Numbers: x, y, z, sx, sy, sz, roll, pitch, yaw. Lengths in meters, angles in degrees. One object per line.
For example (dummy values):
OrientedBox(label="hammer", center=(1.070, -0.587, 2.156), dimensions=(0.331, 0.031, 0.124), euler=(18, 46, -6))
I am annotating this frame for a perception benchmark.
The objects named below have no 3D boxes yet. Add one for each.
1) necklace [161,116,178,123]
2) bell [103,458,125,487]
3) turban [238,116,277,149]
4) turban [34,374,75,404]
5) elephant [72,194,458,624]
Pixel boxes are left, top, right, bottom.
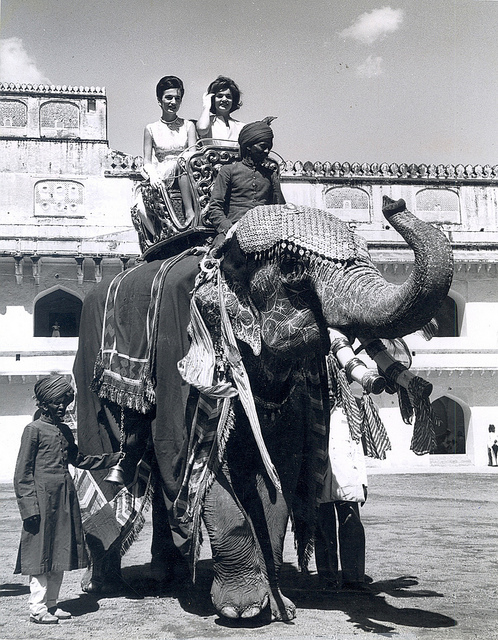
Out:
OrientedBox(label="necklace", center=(-0.527, -1.485, 9.430), dimensions=(0.148, 0.042, 0.036), euler=(-2, 0, 33))
OrientedBox(label="bell", center=(-0.823, 0.955, 8.742), dimensions=(0.124, 0.131, 0.213), euler=(-2, 39, 12))
OrientedBox(label="turban", center=(0.026, -1.178, 8.076), dimensions=(0.233, 0.171, 0.092), euler=(-2, 0, 44))
OrientedBox(label="turban", center=(-1.151, 0.391, 8.355), dimensions=(0.222, 0.178, 0.266), euler=(-2, 0, -9))
OrientedBox(label="elephant", center=(-0.048, 0.537, 8.406), dimensions=(1.114, 2.497, 3.249), euler=(0, -4, -35))
